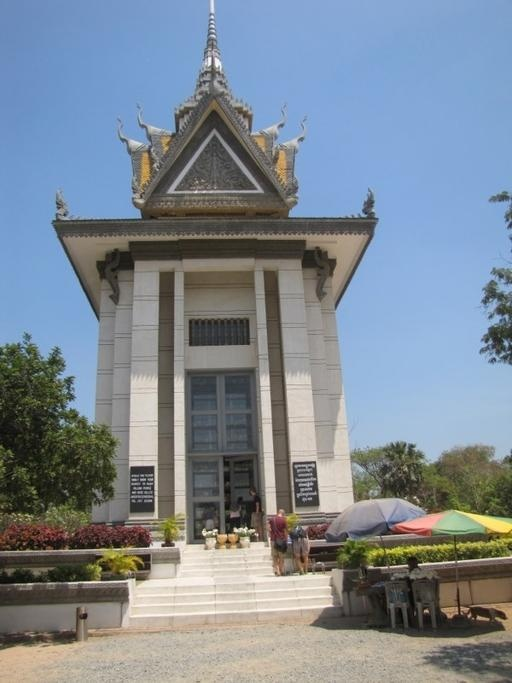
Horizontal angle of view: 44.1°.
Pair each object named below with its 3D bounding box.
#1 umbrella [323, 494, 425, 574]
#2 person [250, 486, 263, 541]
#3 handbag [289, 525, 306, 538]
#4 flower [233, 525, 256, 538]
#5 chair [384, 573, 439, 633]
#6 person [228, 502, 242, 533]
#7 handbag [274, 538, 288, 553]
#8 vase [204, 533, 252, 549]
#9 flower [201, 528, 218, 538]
[{"bbox_3d":[2.222,3.584,11.698,1.295,0.783,1.192,-21,-14,-7],"label":"umbrella"},{"bbox_3d":[0.005,5.233,19.039,0.365,1.504,0.638,-4,-18,-1],"label":"person"},{"bbox_3d":[0.913,4.333,14.312,0.291,0.273,0.288,-9,-62,25],"label":"handbag"},{"bbox_3d":[-0.365,5.468,18.248,0.448,0.210,0.433,6,-16,-11],"label":"flower"},{"bbox_3d":[2.470,4.107,9.951,0.835,0.742,0.509,-7,-18,9],"label":"chair"},{"bbox_3d":[-0.658,5.348,19.129,0.332,0.776,0.803,-3,-18,-5],"label":"person"},{"bbox_3d":[0.541,4.690,14.411,0.222,0.223,0.300,3,-11,3],"label":"handbag"},{"bbox_3d":[-0.864,5.641,17.780,1.305,0.395,0.926,-5,-17,4],"label":"vase"},{"bbox_3d":[-1.345,5.518,18.137,0.473,0.329,0.455,6,-25,-11],"label":"flower"}]
